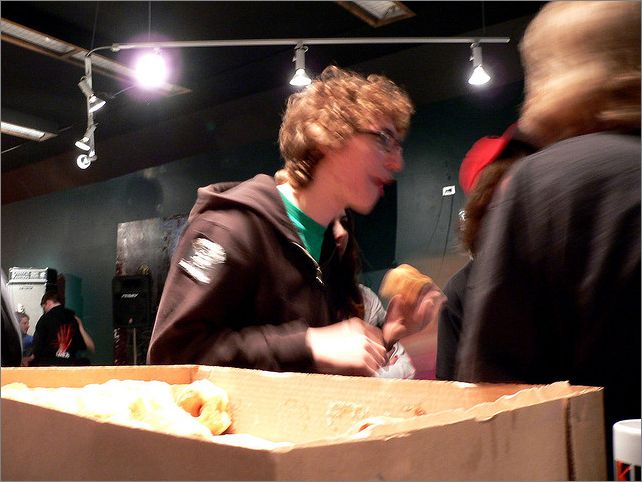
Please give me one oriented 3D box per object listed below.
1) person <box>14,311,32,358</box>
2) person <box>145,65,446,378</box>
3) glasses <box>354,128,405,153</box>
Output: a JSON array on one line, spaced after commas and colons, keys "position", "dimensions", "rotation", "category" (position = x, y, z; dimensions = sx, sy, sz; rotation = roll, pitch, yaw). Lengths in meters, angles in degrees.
[{"position": [-2.834, 0.879, 4.836], "dimensions": [0.116, 0.425, 0.818], "rotation": [0, -5, -31], "category": "person"}, {"position": [0.003, 0.089, 1.556], "dimensions": [0.654, 1.061, 0.700], "rotation": [-5, -22, 19], "category": "person"}, {"position": [0.145, -0.227, 1.151], "dimensions": [0.064, 0.017, 0.064], "rotation": [9, -5, 41], "category": "glasses"}]
